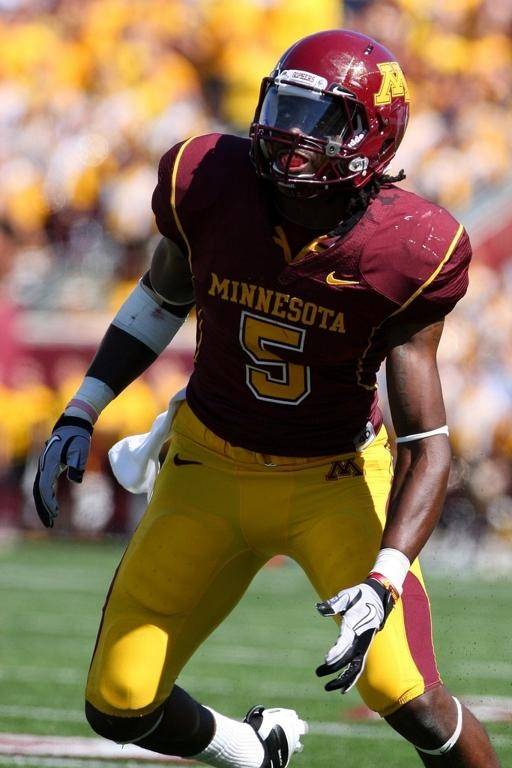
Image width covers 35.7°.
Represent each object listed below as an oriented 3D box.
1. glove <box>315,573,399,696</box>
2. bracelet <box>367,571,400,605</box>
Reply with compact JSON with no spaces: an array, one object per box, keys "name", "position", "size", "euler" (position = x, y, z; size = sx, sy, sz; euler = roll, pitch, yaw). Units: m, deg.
[{"name":"glove","position":[0.139,0.320,1.035],"size":[0.054,0.097,0.152],"euler":[-1,35,41]},{"name":"bracelet","position":[0.175,0.274,1.078],"size":[0.037,0.049,0.018],"euler":[30,81,44]}]
